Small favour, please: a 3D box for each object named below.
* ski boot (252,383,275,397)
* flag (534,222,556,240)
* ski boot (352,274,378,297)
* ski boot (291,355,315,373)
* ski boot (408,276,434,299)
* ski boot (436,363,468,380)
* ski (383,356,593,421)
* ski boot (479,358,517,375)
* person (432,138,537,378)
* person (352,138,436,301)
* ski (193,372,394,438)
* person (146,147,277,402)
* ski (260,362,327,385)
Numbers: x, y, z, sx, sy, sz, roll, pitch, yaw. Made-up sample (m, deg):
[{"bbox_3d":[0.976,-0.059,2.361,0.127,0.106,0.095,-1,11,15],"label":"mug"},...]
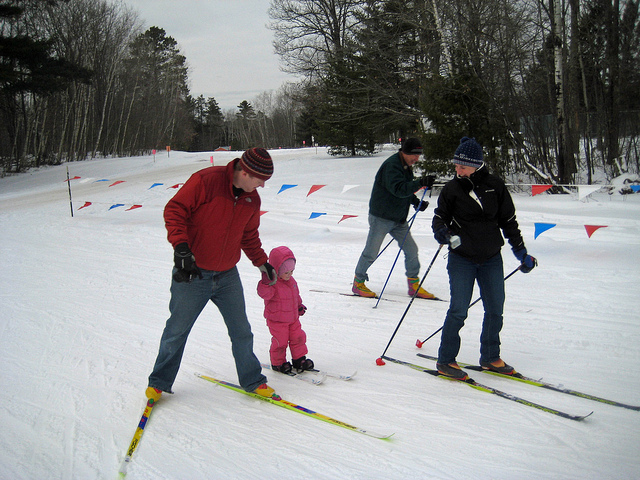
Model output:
[{"bbox_3d":[-0.491,1.345,4.252,0.147,0.064,0.084,-3,2,30],"label":"ski boot"},{"bbox_3d":[3.811,-0.133,8.088,0.296,0.227,0.300,5,3,10],"label":"flag"},{"bbox_3d":[0.608,0.666,6.785,0.437,0.301,0.155,11,8,17],"label":"ski boot"},{"bbox_3d":[-0.162,1.227,4.718,0.188,0.082,0.111,5,13,33],"label":"ski boot"},{"bbox_3d":[1.345,0.664,6.589,0.486,0.360,0.181,2,14,19],"label":"ski boot"},{"bbox_3d":[1.250,1.238,4.561,0.290,0.126,0.107,5,5,31],"label":"ski boot"},{"bbox_3d":[1.527,1.365,4.320,1.155,0.097,0.086,18,3,27],"label":"ski"},{"bbox_3d":[1.716,1.218,4.602,0.345,0.130,0.117,5,8,24],"label":"ski boot"},{"bbox_3d":[1.483,0.187,4.447,0.843,2.177,0.560,3,14,15],"label":"person"},{"bbox_3d":[1.011,-0.237,6.374,1.075,2.205,0.586,10,17,38],"label":"person"},{"bbox_3d":[-0.229,1.451,4.133,1.243,0.069,0.097,15,-8,25],"label":"ski"},{"bbox_3d":[-0.897,0.344,3.984,1.045,2.147,0.439,-8,15,-27],"label":"person"},{"bbox_3d":[-0.258,1.303,4.610,0.721,0.065,0.095,13,35,30],"label":"ski"}]
